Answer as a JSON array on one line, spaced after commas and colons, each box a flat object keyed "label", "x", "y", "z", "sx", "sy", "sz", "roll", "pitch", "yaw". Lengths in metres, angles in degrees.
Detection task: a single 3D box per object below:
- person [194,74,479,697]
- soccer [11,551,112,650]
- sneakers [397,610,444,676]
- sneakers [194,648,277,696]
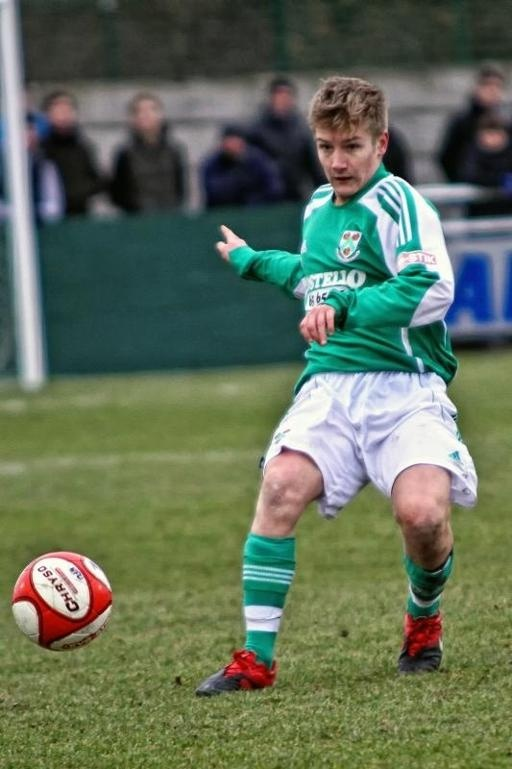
[{"label": "person", "x": 0.230, "y": 0.003, "z": 2.568, "sx": 0.661, "sy": 1.622, "sz": 0.665, "roll": -1, "pitch": 12, "yaw": 5}, {"label": "soccer", "x": -0.484, "y": 0.558, "z": 2.484, "sx": 0.179, "sy": 0.244, "sz": 0.234, "roll": 5, "pitch": 14, "yaw": 31}, {"label": "sneakers", "x": 0.426, "y": 0.682, "z": 2.554, "sx": 0.075, "sy": 0.070, "sz": 0.191, "roll": -1, "pitch": 17, "yaw": 11}, {"label": "sneakers", "x": -0.034, "y": 0.724, "z": 2.471, "sx": 0.240, "sy": 0.091, "sz": 0.077, "roll": -3, "pitch": 2, "yaw": -18}]
